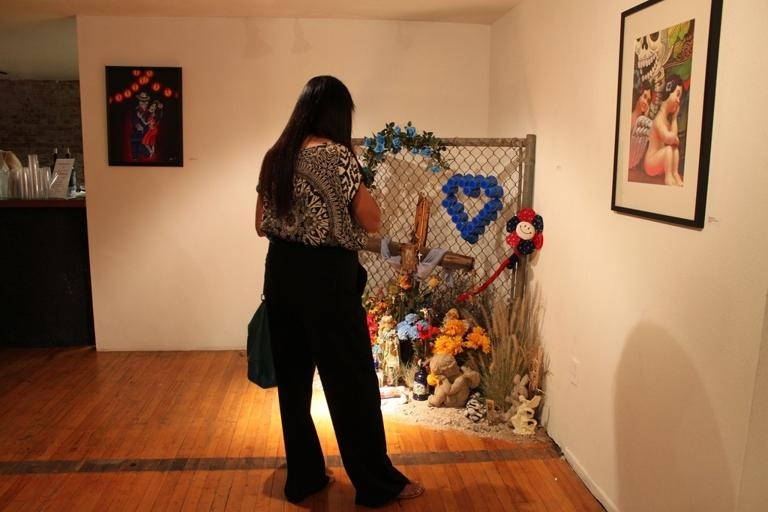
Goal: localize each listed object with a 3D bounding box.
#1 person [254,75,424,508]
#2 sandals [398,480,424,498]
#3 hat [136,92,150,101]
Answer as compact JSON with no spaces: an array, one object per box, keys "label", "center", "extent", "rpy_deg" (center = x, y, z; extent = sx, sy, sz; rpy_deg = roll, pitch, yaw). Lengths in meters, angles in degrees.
[{"label":"person","center":[-0.287,0.252,2.968],"extent":[0.734,2.353,0.294],"rpy_deg":[-2,9,-20]},{"label":"sandals","center":[0.153,1.354,3.189],"extent":[0.150,0.068,0.067],"rpy_deg":[-5,12,-13]},{"label":"hat","center":[-2.107,-1.383,4.806],"extent":[0.076,0.030,0.076],"rpy_deg":[-11,9,-35]}]
